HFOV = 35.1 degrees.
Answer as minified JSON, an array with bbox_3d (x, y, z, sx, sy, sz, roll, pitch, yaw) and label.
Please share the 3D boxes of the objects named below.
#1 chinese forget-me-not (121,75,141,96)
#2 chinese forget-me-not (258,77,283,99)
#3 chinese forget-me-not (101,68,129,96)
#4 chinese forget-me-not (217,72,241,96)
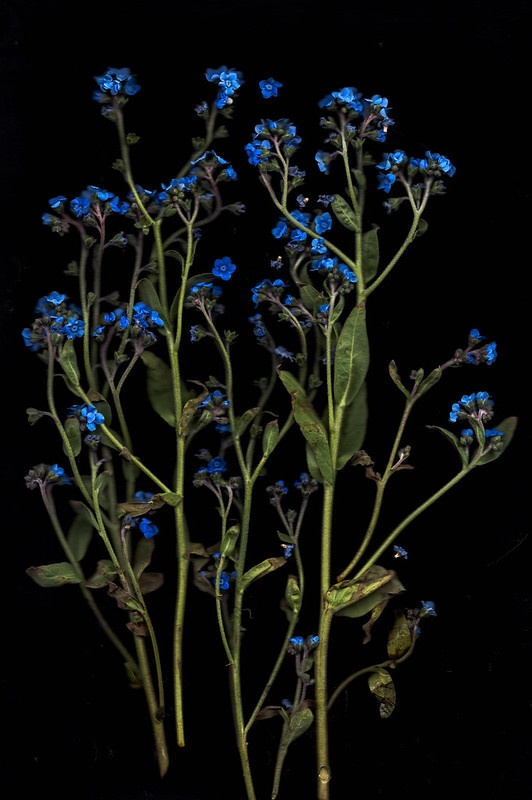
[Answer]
[{"bbox_3d":[-0.280,-0.648,1.732,0.033,0.039,0.040,-10,29,-12],"label":"chinese forget-me-not"},{"bbox_3d":[0.006,-0.649,1.746,0.042,0.039,0.019,-6,-9,-6],"label":"chinese forget-me-not"},{"bbox_3d":[-0.316,-0.656,1.728,0.062,0.054,0.026,4,20,-13],"label":"chinese forget-me-not"},{"bbox_3d":[-0.076,-0.654,1.738,0.046,0.051,0.029,8,19,-2],"label":"chinese forget-me-not"}]
